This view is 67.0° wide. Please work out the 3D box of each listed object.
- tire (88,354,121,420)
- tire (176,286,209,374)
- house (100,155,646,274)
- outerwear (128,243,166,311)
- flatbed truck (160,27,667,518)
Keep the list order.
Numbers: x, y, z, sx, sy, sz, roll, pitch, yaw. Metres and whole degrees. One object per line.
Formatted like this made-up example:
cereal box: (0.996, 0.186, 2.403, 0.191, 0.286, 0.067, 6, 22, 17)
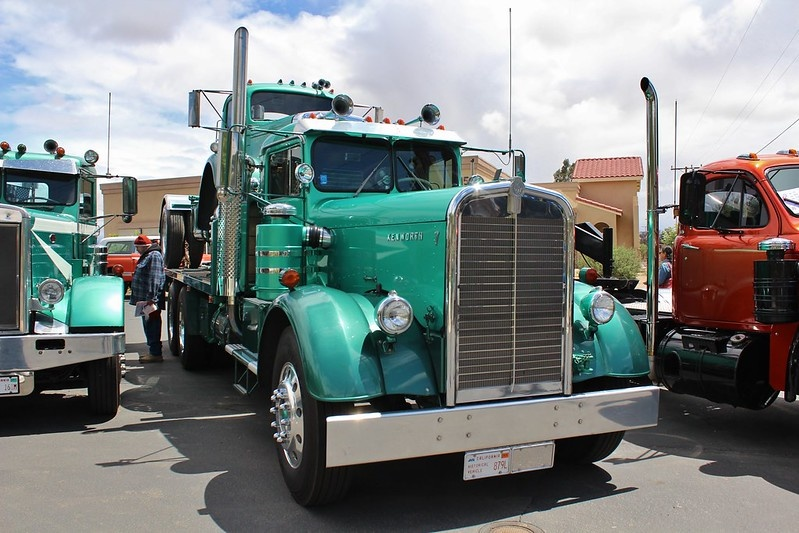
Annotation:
tire: (-3.684, 1.490, 7.507, 0.231, 0.783, 0.737, -8, 8, -7)
tire: (-3.353, 1.039, 9.833, 0.406, 1.383, 1.115, 6, 6, -32)
house: (0.989, -3.685, 30.388, 21.797, 7.223, 12.256, -2, 5, -15)
outerwear: (-4.333, 0.142, 10.369, 0.517, 1.035, 1.031, 4, 0, -35)
flatbed truck: (-0.601, 0.201, 8.857, 2.903, 4.217, 8.124, 1, -2, -27)
